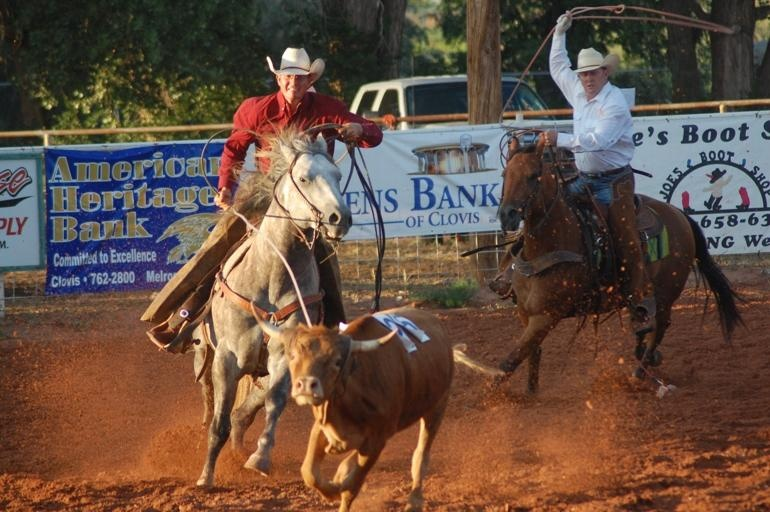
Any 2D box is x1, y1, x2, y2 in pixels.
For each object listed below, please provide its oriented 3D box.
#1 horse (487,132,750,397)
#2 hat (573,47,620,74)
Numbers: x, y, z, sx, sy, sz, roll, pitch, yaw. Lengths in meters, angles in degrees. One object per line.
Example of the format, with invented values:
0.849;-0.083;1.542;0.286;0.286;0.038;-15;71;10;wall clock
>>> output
3.891;-0.275;24.179;5.067;4.343;4.173;-5;9;-12;horse
3.544;-3.250;22.510;0.779;0.407;0.420;-12;13;-40;hat
